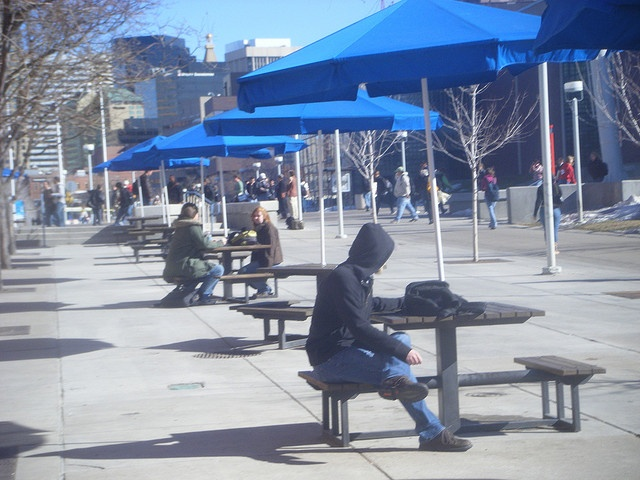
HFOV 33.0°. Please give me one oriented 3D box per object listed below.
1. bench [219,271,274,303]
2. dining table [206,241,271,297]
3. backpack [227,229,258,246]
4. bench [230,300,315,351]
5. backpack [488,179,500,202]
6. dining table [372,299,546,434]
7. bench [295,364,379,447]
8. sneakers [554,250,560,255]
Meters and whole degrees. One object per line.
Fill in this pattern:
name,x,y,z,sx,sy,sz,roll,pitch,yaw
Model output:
bench,-1.313,0.725,18.197,0.712,0.490,1.179,-1,3,-10
dining table,-1.401,0.549,18.908,1.193,0.868,1.057,-1,-1,-18
backpack,-1.385,-0.027,18.995,0.314,0.125,0.402,3,-10,-38
bench,-0.545,1.104,14.925,0.832,0.355,1.154,-2,3,-35
backpack,5.162,-1.459,32.765,0.225,0.548,0.439,2,-17,11
dining table,1.531,1.443,11.868,1.784,1.268,1.575,-1,3,-18
bench,0.186,1.653,12.042,0.816,0.739,1.332,1,-3,-11
sneakers,4.948,0.283,22.860,0.175,0.090,0.152,0,-6,2
